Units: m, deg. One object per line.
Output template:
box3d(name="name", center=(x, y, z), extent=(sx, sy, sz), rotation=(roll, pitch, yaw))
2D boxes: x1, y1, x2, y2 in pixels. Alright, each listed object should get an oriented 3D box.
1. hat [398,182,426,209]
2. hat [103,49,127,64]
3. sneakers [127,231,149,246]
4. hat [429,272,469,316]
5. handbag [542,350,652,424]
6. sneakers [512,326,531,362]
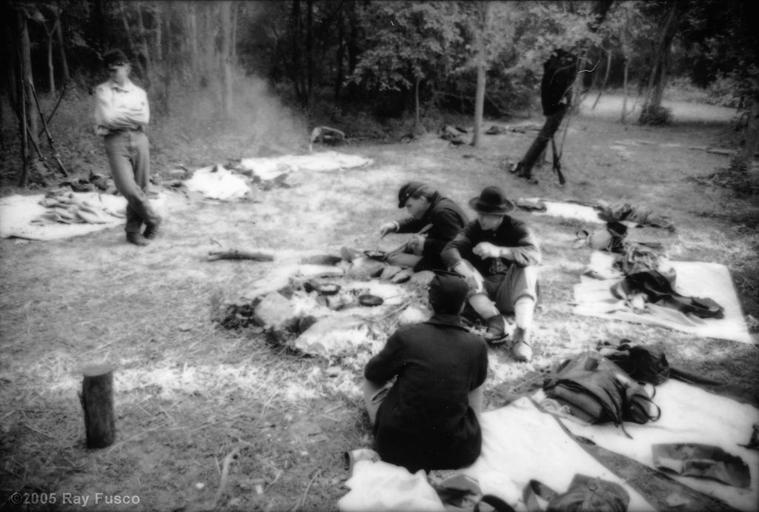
box3d(name="hat", center=(0.507, -0.950, 8.812), extent=(0.435, 0.201, 0.308), rotation=(-39, 15, 16))
box3d(name="hat", center=(-4.252, -3.194, 9.228), extent=(0.288, 0.168, 0.289), rotation=(22, 42, 21))
box3d(name="sneakers", center=(-4.004, -0.290, 9.438), extent=(0.334, 0.142, 0.183), rotation=(9, 42, 19))
box3d(name="hat", center=(0.769, 0.444, 6.375), extent=(0.358, 0.465, 0.457), rotation=(13, -4, 22))
box3d(name="handbag", center=(2.673, 1.576, 6.739), extent=(0.897, 0.371, 0.877), rotation=(-3, 19, -29))
box3d(name="sneakers", center=(1.895, 1.147, 7.496), extent=(0.292, 0.394, 0.286), rotation=(4, 21, 4))
